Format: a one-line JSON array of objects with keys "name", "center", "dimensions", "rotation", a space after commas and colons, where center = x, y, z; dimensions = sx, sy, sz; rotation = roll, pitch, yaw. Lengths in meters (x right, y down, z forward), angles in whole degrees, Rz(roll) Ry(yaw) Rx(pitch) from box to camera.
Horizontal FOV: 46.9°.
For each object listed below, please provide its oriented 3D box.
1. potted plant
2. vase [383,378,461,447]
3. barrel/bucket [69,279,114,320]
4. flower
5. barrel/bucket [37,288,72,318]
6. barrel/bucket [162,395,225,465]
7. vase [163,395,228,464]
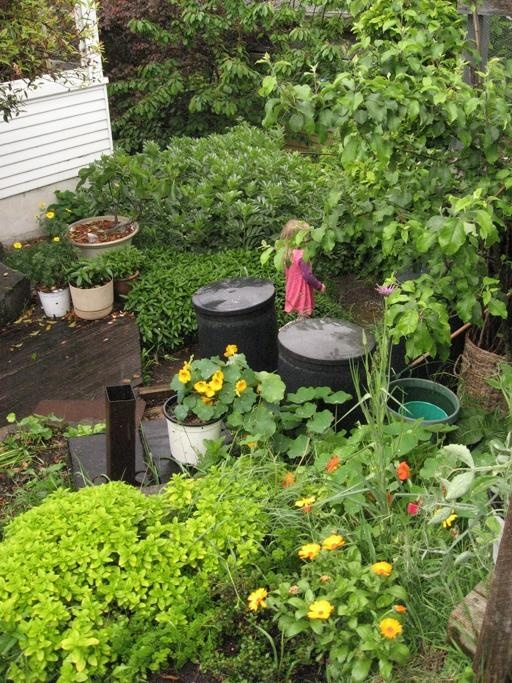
[{"name": "potted plant", "center": [-1.816, -1.013, 6.757], "dimensions": [1.470, 0.758, 1.925], "rotation": [8, 33, 5]}, {"name": "vase", "center": [0.930, 0.415, 3.218], "dimensions": [0.408, 0.138, 0.397], "rotation": [0, 31, -3]}, {"name": "barrel/bucket", "center": [-1.648, -0.412, 6.070], "dimensions": [0.417, 0.397, 0.284], "rotation": [-10, 17, -15]}, {"name": "flower", "center": [-0.159, 0.117, 2.966], "dimensions": [0.400, 0.415, 0.176], "rotation": [-27, 21, -17]}, {"name": "barrel/bucket", "center": [-2.020, -0.405, 6.138], "dimensions": [0.331, 0.241, 0.300], "rotation": [8, 28, 12]}, {"name": "barrel/bucket", "center": [-0.295, 0.483, 3.079], "dimensions": [0.313, 0.222, 0.318], "rotation": [3, 22, -1]}, {"name": "vase", "center": [-0.317, 0.475, 3.082], "dimensions": [0.316, 0.226, 0.311], "rotation": [-7, 24, -23]}]
